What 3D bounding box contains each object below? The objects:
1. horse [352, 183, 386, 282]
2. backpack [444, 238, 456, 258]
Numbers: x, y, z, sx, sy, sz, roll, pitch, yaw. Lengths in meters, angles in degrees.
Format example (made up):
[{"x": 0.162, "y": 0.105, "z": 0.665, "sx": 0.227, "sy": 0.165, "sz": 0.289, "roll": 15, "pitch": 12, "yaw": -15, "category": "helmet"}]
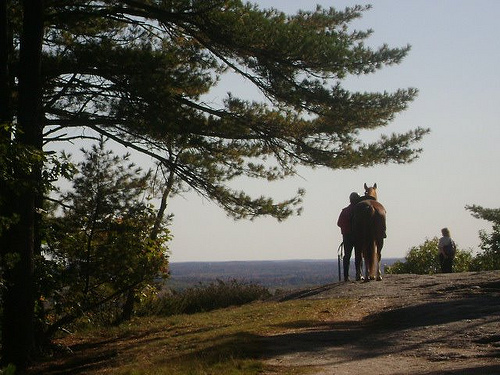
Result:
[{"x": 3.553, "y": 1.383, "z": 25.372, "sx": 0.856, "sy": 3.081, "sz": 3.495, "roll": -1, "pitch": -9, "yaw": 6, "category": "horse"}, {"x": 6.245, "y": 1.900, "z": 26.480, "sx": 0.324, "sy": 0.485, "sz": 0.793, "roll": -5, "pitch": 2, "yaw": 14, "category": "backpack"}]
